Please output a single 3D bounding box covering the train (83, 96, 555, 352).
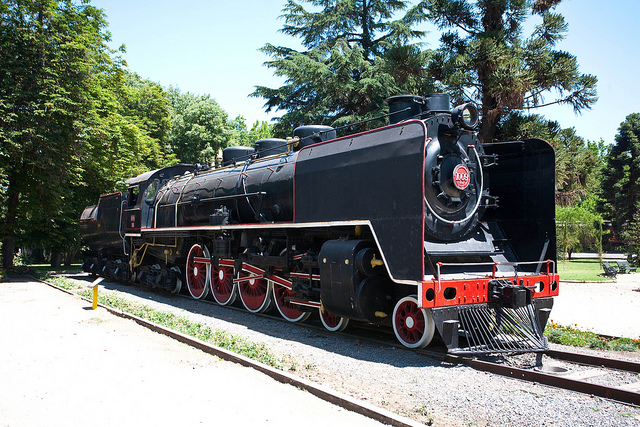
[{"bbox_3d":[-3.110,0.768,17.268,5.742,6.559,22.177,3,-6,-40],"label":"train"}]
